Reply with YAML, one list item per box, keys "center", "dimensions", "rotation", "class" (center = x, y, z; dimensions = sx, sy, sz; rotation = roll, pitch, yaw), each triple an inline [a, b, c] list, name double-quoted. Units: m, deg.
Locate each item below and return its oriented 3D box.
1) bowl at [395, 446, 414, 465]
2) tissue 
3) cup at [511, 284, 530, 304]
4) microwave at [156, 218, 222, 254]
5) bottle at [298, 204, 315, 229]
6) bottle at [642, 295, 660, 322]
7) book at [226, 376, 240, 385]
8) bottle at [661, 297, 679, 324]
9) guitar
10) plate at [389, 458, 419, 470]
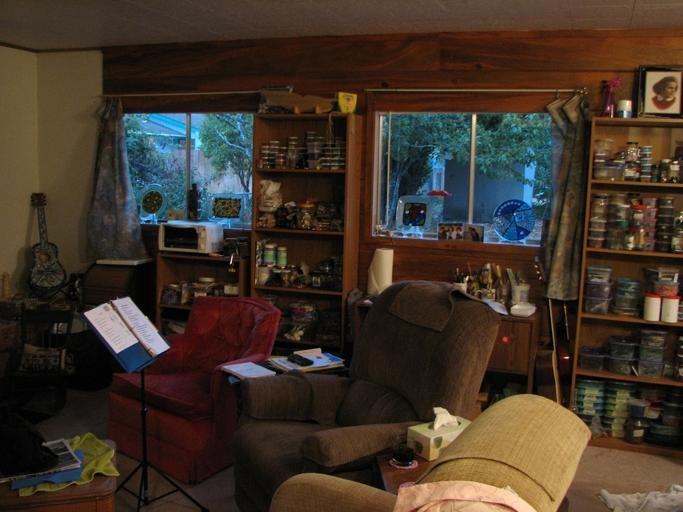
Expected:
- center: [0.311, 0.982, 2.805]
  dimensions: [0.097, 0.057, 0.089]
  rotation: [1, 1, 0]
  class: "bowl"
- center: [0.524, 0.908, 2.977]
  dimensions: [0.345, 0.177, 0.163]
  rotation: [-2, 9, -38]
  class: "tissue "
- center: [1.462, 0.317, 4.744]
  dimensions: [0.168, 0.156, 0.161]
  rotation: [-1, 5, 0]
  class: "cup"
- center: [-1.428, -0.181, 5.404]
  dimensions: [0.558, 0.282, 0.295]
  rotation: [5, 8, 22]
  class: "microwave"
- center: [-0.314, -0.350, 5.073]
  dimensions: [0.143, 0.227, 0.162]
  rotation: [3, 8, 1]
  class: "bottle"
- center: [2.358, 0.394, 4.322]
  dimensions: [0.118, 0.209, 0.067]
  rotation: [6, 9, 25]
  class: "bottle"
- center: [-0.682, 0.780, 3.588]
  dimensions: [0.077, 0.020, 0.074]
  rotation: [-9, 12, -36]
  class: "book"
- center: [2.463, 0.404, 4.284]
  dimensions: [0.115, 0.200, 0.051]
  rotation: [5, 9, 20]
  class: "bottle"
- center: [-2.932, -0.115, 5.670]
  dimensions: [0.316, 0.984, 0.459]
  rotation: [-2, 9, -27]
  class: "guitar"
- center: [0.306, 1.015, 2.812]
  dimensions: [0.151, 0.035, 0.084]
  rotation: [2, 8, 2]
  class: "plate"
